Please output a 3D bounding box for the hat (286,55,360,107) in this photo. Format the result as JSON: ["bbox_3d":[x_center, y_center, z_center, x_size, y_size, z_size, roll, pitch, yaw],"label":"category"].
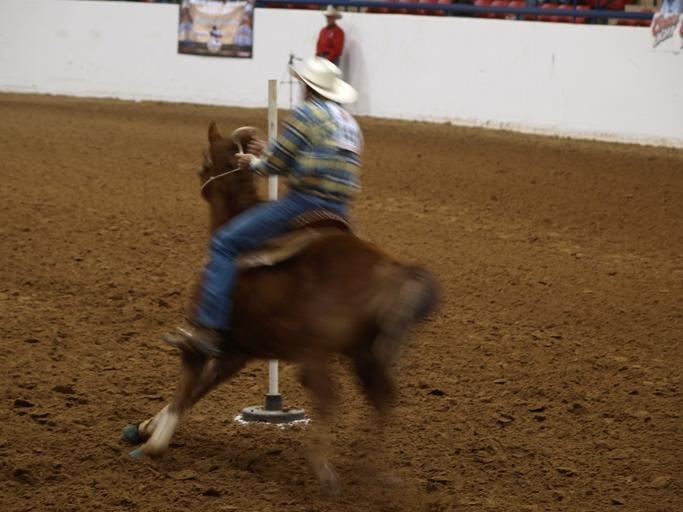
[{"bbox_3d":[-0.193,-1.239,4.848,0.597,0.185,0.504,29,28,12],"label":"hat"}]

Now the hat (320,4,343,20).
[{"bbox_3d":[-0.156,-3.723,10.604,0.272,0.268,0.100,12,65,27],"label":"hat"}]
